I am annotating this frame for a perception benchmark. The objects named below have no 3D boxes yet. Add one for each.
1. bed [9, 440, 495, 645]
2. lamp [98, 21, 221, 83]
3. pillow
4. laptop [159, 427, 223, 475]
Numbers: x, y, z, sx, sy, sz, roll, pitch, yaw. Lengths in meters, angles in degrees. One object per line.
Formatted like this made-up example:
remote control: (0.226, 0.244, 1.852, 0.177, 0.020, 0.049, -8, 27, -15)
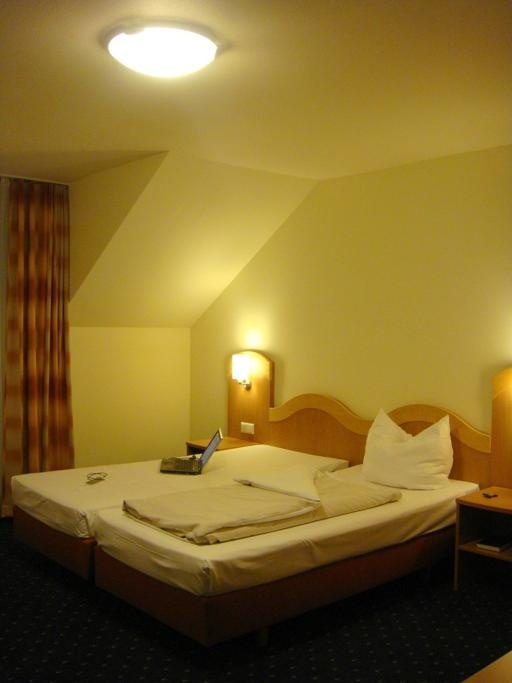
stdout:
bed: (-0.099, 1.056, 3.358, 2.039, 0.423, 2.002, 4, -6, -39)
lamp: (-0.369, -1.142, 2.137, 0.449, 0.079, 0.324, 0, -5, -2)
pillow: (0.974, 0.707, 3.515, 0.368, 0.426, 0.649, 1, -4, -37)
laptop: (-0.470, 0.775, 3.881, 0.315, 0.196, 0.318, 1, -3, -9)
